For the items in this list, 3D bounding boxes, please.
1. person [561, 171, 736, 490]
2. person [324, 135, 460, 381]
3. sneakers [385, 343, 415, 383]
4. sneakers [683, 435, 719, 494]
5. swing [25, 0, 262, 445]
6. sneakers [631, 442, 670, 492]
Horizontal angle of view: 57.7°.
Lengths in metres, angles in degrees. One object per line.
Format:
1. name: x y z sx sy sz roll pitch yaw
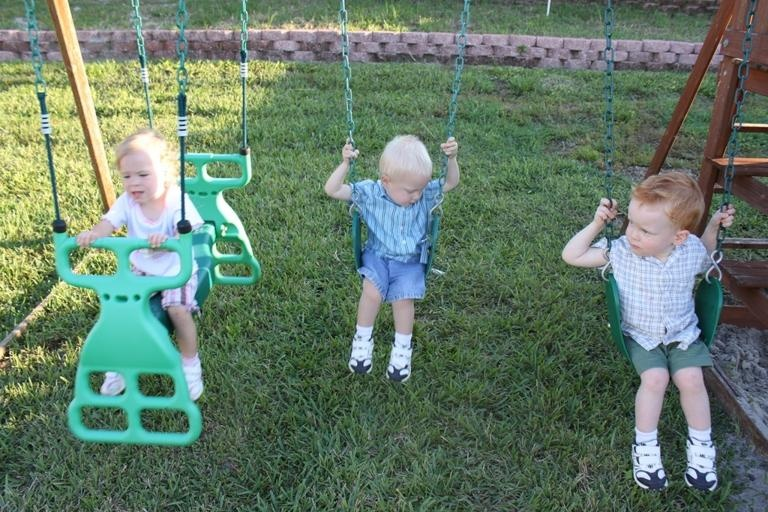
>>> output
1. person: 1.545 0.420 4.061 0.948 1.638 0.913 2 24 0
2. person: -0.001 -0.028 4.459 0.753 1.455 0.759 9 25 15
3. sneakers: 0.105 0.662 4.463 0.161 0.144 0.377 12 32 3
4. sneakers: 1.792 1.196 3.990 0.141 0.147 0.354 -1 19 17
5. swing: -1.385 -0.183 4.126 1.146 2.319 1.572 0 24 -4
6. sneakers: 1.502 1.211 3.976 0.133 0.140 0.339 -3 17 10
